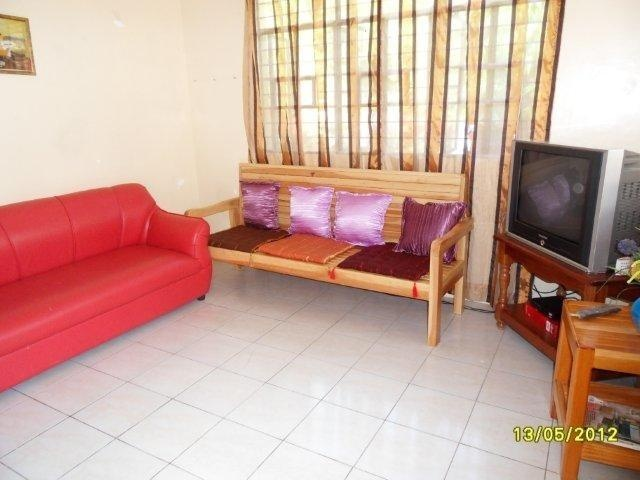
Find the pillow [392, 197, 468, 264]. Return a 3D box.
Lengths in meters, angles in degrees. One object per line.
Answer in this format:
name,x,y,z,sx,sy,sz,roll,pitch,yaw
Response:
pillow,0.844,-0.093,3.398,0.502,0.405,0.257,12,24,40

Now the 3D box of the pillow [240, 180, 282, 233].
pillow,-0.549,-0.306,4.106,0.559,0.491,0.205,2,7,19

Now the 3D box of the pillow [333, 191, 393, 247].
pillow,0.337,-0.173,3.726,0.544,0.463,0.198,6,10,25

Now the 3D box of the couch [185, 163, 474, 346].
couch,0.005,-0.017,3.753,2.351,1.009,0.850,8,25,31
